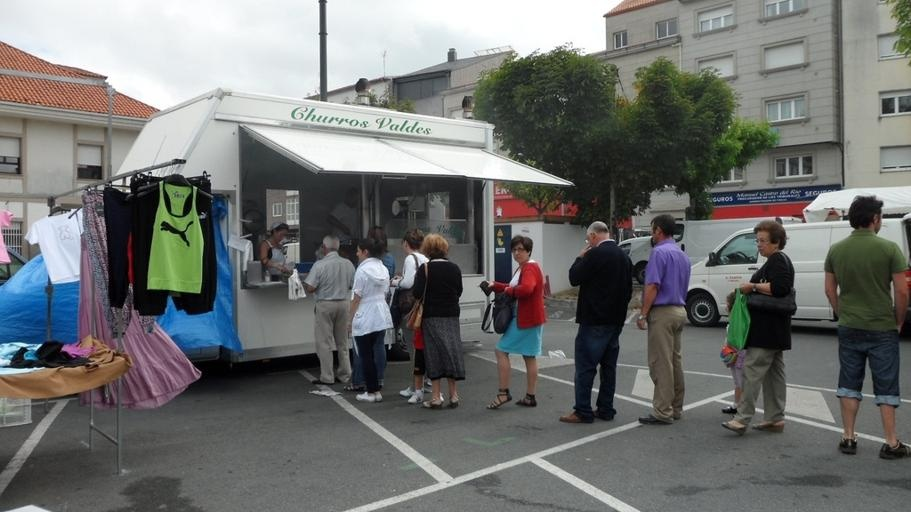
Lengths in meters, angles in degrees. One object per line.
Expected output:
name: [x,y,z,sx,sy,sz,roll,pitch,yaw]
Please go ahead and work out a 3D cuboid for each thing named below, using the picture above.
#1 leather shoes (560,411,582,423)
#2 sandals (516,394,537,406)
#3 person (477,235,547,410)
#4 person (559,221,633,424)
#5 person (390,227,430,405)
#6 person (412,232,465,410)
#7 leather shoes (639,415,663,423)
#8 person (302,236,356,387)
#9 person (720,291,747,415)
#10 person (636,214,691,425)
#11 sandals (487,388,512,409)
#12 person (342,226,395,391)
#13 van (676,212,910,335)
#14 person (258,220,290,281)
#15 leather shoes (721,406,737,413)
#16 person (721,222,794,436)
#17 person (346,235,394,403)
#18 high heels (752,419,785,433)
leather shoes: [1.854,2.564,11.323,0.323,0.119,0.161,1,-3,22]
sandals: [1.198,2.435,12.004,0.166,0.140,0.335,1,1,-37]
person: [1.047,1.117,11.889,0.824,2.810,0.832,0,15,3]
person: [2.279,1.100,11.309,0.866,3.188,1.179,5,16,21]
person: [-0.815,0.919,12.589,0.803,2.727,0.683,-1,0,0]
person: [-0.393,1.087,12.259,0.982,2.900,1.109,1,-4,-17]
leather shoes: [3.133,2.597,11.289,0.349,0.136,0.132,5,-8,9]
person: [-2.331,0.971,13.488,1.096,2.652,1.113,0,-1,-2]
person: [4.509,1.584,11.371,0.374,2.086,0.403,-1,0,18]
person: [3.441,1.027,11.377,0.871,3.161,0.981,1,0,26]
sandals: [0.763,2.388,11.936,0.591,0.254,0.208,-18,-4,22]
person: [-1.613,1.049,12.550,1.026,2.772,0.987,0,0,21]
van: [8.695,0.425,17.788,5.145,2.331,2.899,0,-1,30]
person: [-3.547,-0.078,13.660,0.543,0.937,0.963,-4,15,-14]
leather shoes: [4.518,2.518,11.612,0.091,0.095,0.234,0,1,-16]
person: [4.731,1.082,11.155,1.021,3.284,1.074,0,0,21]
person: [-1.558,1.108,12.488,0.912,2.772,1.020,-2,-2,22]
high heels: [4.875,2.618,10.965,0.458,0.168,0.166,2,-3,20]
